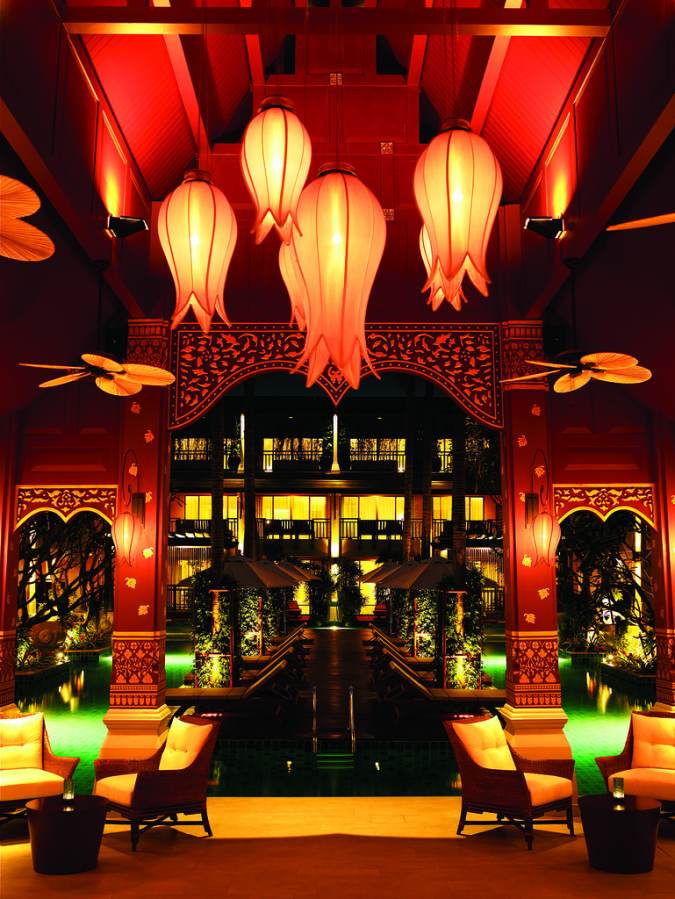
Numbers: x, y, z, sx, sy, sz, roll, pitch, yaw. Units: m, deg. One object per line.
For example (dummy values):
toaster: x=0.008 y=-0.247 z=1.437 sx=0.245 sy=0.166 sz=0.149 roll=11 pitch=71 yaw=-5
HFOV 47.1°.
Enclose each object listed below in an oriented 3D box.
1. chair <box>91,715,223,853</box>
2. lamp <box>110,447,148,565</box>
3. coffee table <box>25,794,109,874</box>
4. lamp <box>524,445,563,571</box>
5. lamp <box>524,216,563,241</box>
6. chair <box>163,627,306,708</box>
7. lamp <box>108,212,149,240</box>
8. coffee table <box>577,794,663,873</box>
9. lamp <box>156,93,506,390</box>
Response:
chair: x=-1.289 y=2.153 z=5.153 sx=0.894 sy=1.010 sz=0.724 roll=14 pitch=-21 yaw=-40
lamp: x=-1.819 y=0.519 z=6.766 sx=0.270 sy=0.965 sz=0.165 roll=1 pitch=-9 yaw=-9
coffee table: x=-1.365 y=1.945 z=3.945 sx=0.372 sy=0.278 sz=0.329 roll=5 pitch=-22 yaw=-17
lamp: x=1.801 y=0.526 z=6.872 sx=0.323 sy=0.985 sz=0.157 roll=-1 pitch=-9 yaw=1
lamp: x=1.481 y=-1.514 z=5.419 sx=0.183 sy=0.090 sz=0.244 roll=14 pitch=15 yaw=38
chair: x=-1.140 y=2.383 z=8.380 sx=1.560 sy=0.636 sz=0.654 roll=0 pitch=-8 yaw=3
lamp: x=-1.453 y=-1.510 z=5.285 sx=0.259 sy=0.133 sz=0.283 roll=2 pitch=-9 yaw=-19
coffee table: x=1.439 y=1.946 z=3.969 sx=0.328 sy=0.286 sz=0.379 roll=1 pitch=-15 yaw=0
lamp: x=0.099 y=-0.627 z=2.559 sx=0.874 sy=0.755 sz=1.128 roll=-11 pitch=-22 yaw=29
